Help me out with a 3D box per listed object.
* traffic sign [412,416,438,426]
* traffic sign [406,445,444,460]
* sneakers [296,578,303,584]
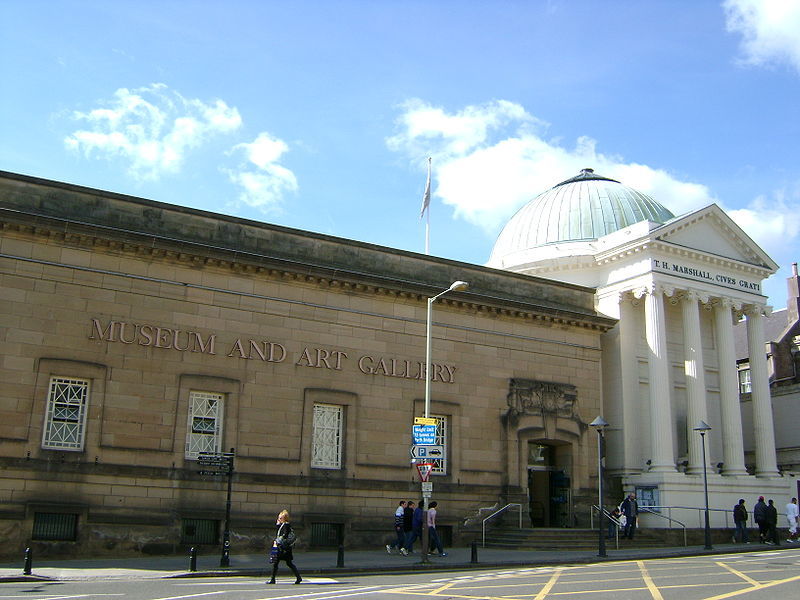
[{"bbox_3d":[0.992,4.939,32.452,1.177,0.279,1.252,9,-11,-44],"label":"traffic sign"},{"bbox_3d":[0.997,6.043,31.442,1.929,0.656,0.248,-1,3,0],"label":"traffic sign"},{"bbox_3d":[-3.168,8.854,25.159,0.198,0.160,0.669,2,-15,-7],"label":"sneakers"}]
